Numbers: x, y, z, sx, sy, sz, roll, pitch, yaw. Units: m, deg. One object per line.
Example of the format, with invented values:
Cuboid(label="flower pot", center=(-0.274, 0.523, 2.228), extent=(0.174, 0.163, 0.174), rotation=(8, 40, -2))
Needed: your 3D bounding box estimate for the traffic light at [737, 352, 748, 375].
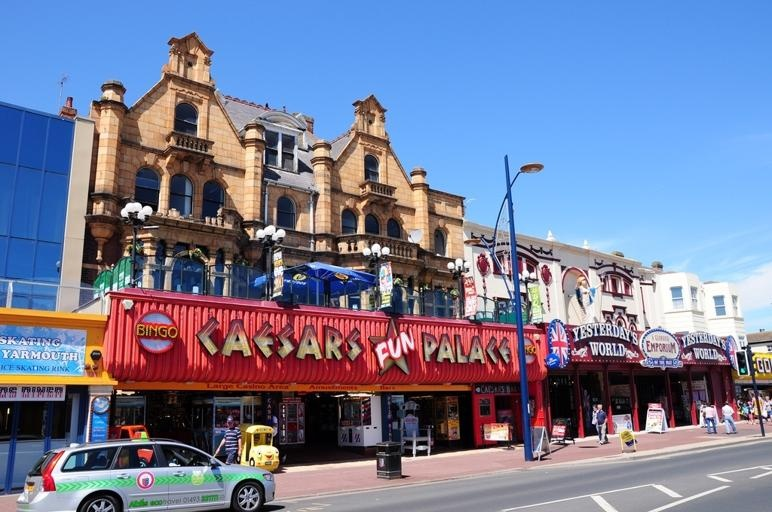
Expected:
Cuboid(label="traffic light", center=(20.694, 6.174, 39.026), extent=(0.501, 1.307, 0.657), rotation=(-9, -17, 18))

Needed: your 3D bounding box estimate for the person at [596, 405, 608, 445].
Cuboid(label="person", center=(12.294, 9.557, 38.393), extent=(0.553, 2.109, 1.067), rotation=(-8, -17, 15))

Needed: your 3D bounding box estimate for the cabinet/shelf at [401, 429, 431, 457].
Cuboid(label="cabinet/shelf", center=(1.667, 9.678, 35.035), extent=(1.399, 1.718, 1.242), rotation=(13, -34, -26))
